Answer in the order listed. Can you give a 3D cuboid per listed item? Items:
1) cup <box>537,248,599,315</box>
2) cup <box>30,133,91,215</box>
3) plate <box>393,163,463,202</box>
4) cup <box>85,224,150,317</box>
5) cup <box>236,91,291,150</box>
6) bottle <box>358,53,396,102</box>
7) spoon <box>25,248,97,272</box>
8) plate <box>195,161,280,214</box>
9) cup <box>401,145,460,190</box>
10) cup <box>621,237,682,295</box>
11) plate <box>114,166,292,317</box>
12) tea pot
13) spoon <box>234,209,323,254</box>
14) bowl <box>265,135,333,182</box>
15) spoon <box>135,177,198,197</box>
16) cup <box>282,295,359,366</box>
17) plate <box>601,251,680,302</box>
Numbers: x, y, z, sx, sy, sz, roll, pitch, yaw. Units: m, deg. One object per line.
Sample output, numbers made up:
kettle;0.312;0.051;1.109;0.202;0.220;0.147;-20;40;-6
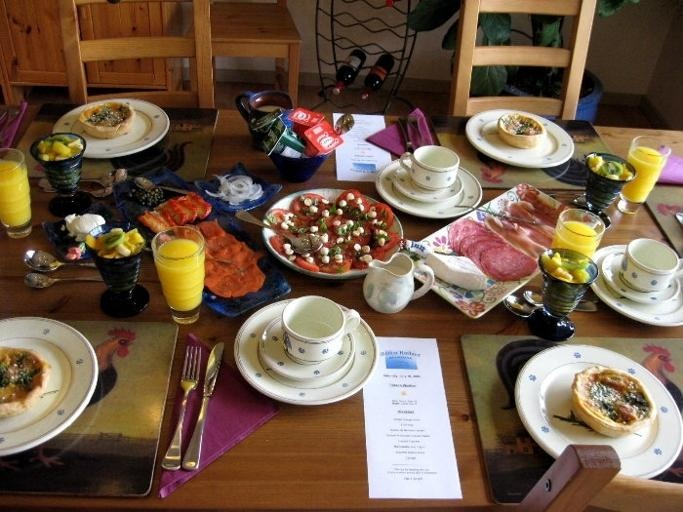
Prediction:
cup;0.515;0.082;1.147;0.125;0.120;0.123;-1;32;1
cup;-0.739;-0.200;1.321;0.120;0.139;0.113;4;29;-2
plate;0.272;-0.261;1.575;0.200;0.042;0.195;17;24;5
cup;-0.493;0.037;1.116;0.134;0.158;0.127;6;31;-3
cup;-0.264;-0.447;1.563;0.160;0.105;0.107;19;26;23
bottle;0.166;-0.784;2.219;0.102;0.199;0.331;8;40;5
spoon;-0.703;0.016;1.198;0.218;0.030;0.058;4;55;-17
plate;-0.304;-0.199;1.417;0.196;0.196;0.059;-21;56;19
cup;0.249;-0.249;1.513;0.178;0.100;0.132;15;47;15
cup;0.756;0.040;1.281;0.161;0.111;0.111;-9;52;2
plate;-0.351;-0.063;1.294;0.335;0.057;0.486;-21;48;-37
tea pot;0.142;0.071;1.180;0.174;0.112;0.099;1;31;-8
spoon;-0.184;-0.052;1.330;0.293;0.039;0.088;24;49;24
bowl;-0.134;-0.277;1.523;0.179;0.090;0.180;3;22;-1
spoon;-0.499;-0.191;1.393;0.154;0.017;0.027;15;45;-8
cup;-0.049;0.183;1.025;0.139;0.060;0.101;-1;12;-33
plate;0.732;0.042;1.235;0.144;0.032;0.139;-11;45;-20
